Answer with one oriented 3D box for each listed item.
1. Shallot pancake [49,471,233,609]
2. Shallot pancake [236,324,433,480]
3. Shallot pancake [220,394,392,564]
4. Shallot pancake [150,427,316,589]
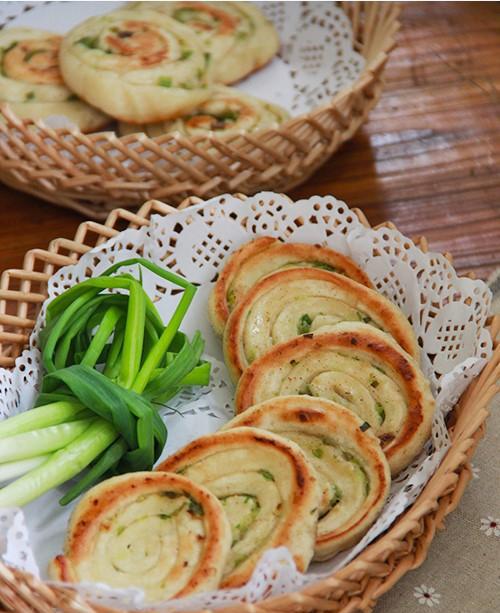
[{"bbox_3d":[-0.119,0.302,0.878,0.216,0.058,0.177,-24,37,-1],"label":"Shallot pancake"},{"bbox_3d":[0.169,0.155,1.090,0.119,0.355,0.280,-3,76,-48],"label":"Shallot pancake"},{"bbox_3d":[0.069,0.240,0.926,0.276,0.080,0.209,-8,71,-34],"label":"Shallot pancake"},{"bbox_3d":[0.003,0.256,0.840,0.237,0.072,0.171,-13,61,0],"label":"Shallot pancake"}]
